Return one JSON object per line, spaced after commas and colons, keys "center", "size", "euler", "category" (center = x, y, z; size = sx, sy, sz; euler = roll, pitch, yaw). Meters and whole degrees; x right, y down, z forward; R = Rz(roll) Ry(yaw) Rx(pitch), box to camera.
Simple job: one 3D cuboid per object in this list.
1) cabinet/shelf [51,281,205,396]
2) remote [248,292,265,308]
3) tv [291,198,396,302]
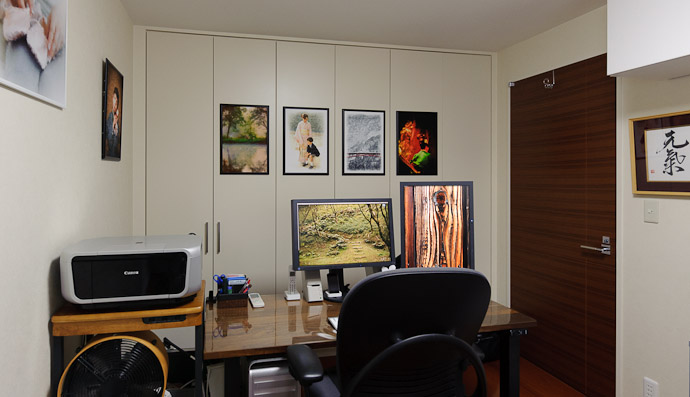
{"center": [-1.662, 0.898, 3.304], "size": [0.947, 0.798, 0.769], "euler": [0, -3, -19], "category": "cabinet/shelf"}
{"center": [-0.802, 0.934, 3.848], "size": [0.097, 0.035, 0.180], "euler": [2, 14, -19], "category": "remote"}
{"center": [-0.016, 0.425, 3.632], "size": [0.996, 0.879, 0.360], "euler": [0, -4, -9], "category": "tv"}
